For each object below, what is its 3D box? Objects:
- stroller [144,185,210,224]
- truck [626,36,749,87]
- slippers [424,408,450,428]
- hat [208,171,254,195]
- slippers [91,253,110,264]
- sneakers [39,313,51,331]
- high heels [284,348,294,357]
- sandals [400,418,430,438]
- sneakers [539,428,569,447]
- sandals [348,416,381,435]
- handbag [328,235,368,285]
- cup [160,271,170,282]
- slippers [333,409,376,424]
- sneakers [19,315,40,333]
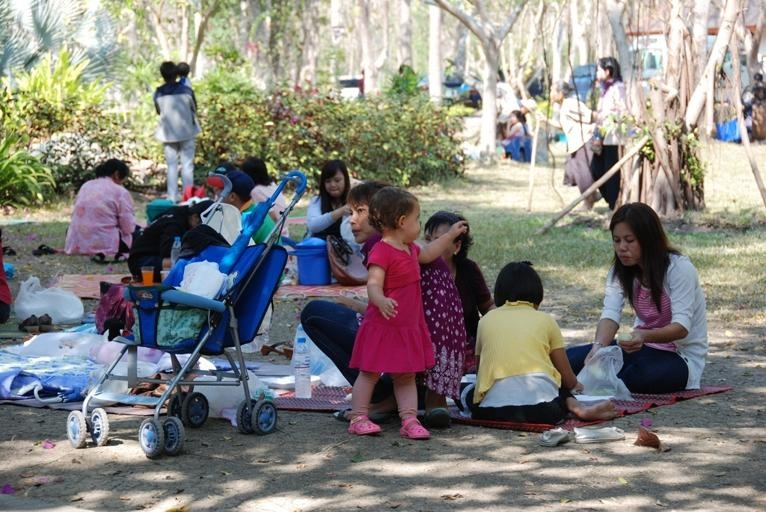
[{"bbox_3d":[-2.806,-0.709,12.768,0.778,0.418,1.071,-3,10,34],"label":"stroller"},{"bbox_3d":[4.690,-2.990,14.416,1.973,0.493,1.957,4,13,21],"label":"truck"},{"bbox_3d":[0.458,1.353,7.916,0.227,0.186,0.191,-3,2,-1],"label":"slippers"},{"bbox_3d":[-1.573,-0.786,9.844,0.386,0.159,0.240,12,10,-1],"label":"hat"},{"bbox_3d":[-3.966,0.025,13.132,0.140,0.074,0.187,8,1,0],"label":"slippers"},{"bbox_3d":[-3.565,0.703,9.912,0.131,0.167,0.169,1,7,-19],"label":"sneakers"},{"bbox_3d":[-0.958,0.977,9.545,0.092,0.079,0.080,3,-4,20],"label":"high heels"},{"bbox_3d":[0.256,1.411,7.754,0.132,0.120,0.250,-1,-1,-40],"label":"sandals"},{"bbox_3d":[1.378,1.461,7.616,0.228,0.087,0.120,-18,16,-34],"label":"sneakers"},{"bbox_3d":[-0.168,1.400,7.802,0.234,0.100,0.139,-1,0,43],"label":"sandals"},{"bbox_3d":[-0.390,0.024,10.710,0.367,0.666,0.543,-11,-4,21],"label":"handbag"},{"bbox_3d":[-2.041,0.182,8.803,0.116,0.082,0.114,0,-4,0],"label":"cup"},{"bbox_3d":[-0.249,1.338,8.046,0.358,0.138,0.133,-1,2,29],"label":"slippers"},{"bbox_3d":[-3.724,0.722,9.887,0.203,0.178,0.153,1,-2,5],"label":"sneakers"}]
